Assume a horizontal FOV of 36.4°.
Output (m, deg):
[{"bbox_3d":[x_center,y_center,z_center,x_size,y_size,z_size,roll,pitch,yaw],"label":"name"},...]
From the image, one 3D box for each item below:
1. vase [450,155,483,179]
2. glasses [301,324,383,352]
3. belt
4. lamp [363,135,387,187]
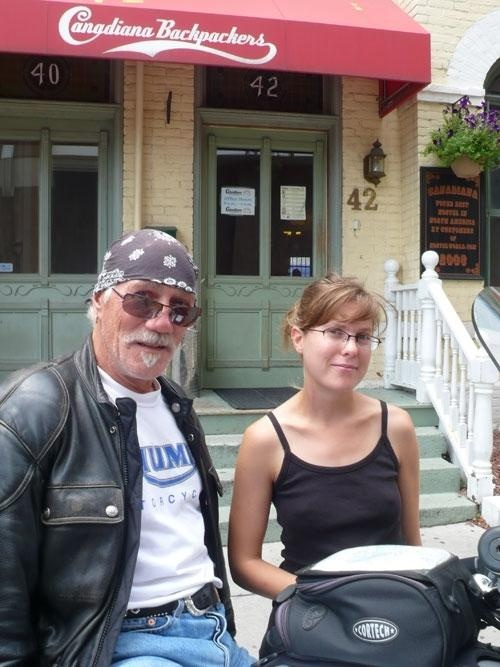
[{"bbox_3d":[1.879,-1.420,6.607,0.196,0.108,0.184,3,-5,-11],"label":"vase"},{"bbox_3d":[0.330,0.015,2.372,0.269,0.071,0.147,-1,3,-29],"label":"glasses"},{"bbox_3d":[-0.193,0.708,1.990,0.137,0.033,0.095,-10,2,-22],"label":"belt"},{"bbox_3d":[1.136,-1.528,6.826,0.215,0.418,0.185,2,7,11],"label":"lamp"}]
